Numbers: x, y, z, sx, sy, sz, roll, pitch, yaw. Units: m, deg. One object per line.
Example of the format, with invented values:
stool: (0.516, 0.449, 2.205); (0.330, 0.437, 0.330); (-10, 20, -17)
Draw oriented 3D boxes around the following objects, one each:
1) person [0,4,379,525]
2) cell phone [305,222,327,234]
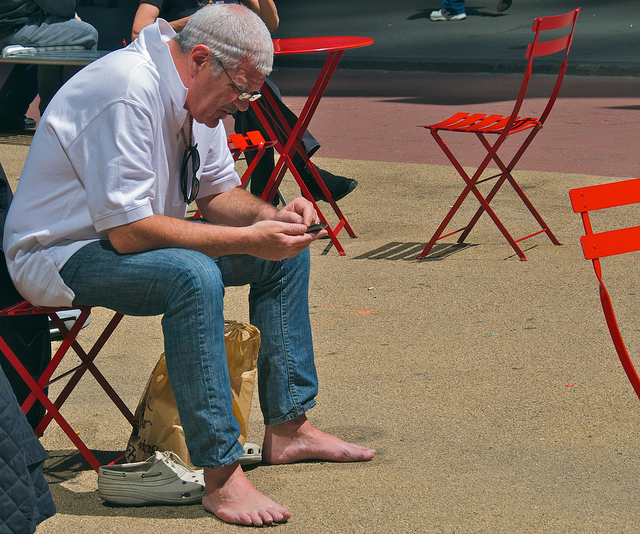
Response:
person: (-0.478, -0.062, 3.668); (1.118, 1.730, 0.933); (21, 27, 37)
cell phone: (-0.018, -0.143, 3.638); (0.104, 0.017, 0.174); (-10, -1, 13)
